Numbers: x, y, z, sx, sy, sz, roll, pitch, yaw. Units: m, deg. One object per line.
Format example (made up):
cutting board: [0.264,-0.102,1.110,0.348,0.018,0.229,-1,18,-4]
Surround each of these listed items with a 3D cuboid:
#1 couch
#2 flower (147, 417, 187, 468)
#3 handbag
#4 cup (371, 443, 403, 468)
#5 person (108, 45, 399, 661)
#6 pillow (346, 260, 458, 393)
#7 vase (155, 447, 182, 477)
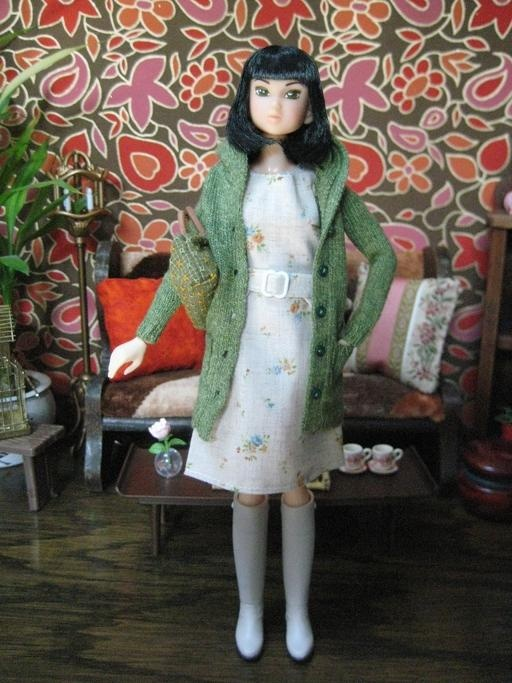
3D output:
couch: [0.068,0.096,2.482,1.415,0.777,0.669,1,17,-6]
flower: [-0.275,0.345,1.981,0.120,0.158,0.081,-1,-10,-12]
handbag: [-0.146,-0.156,1.387,0.104,0.280,0.189,-3,14,-13]
cup: [0.415,0.372,2.003,0.109,0.063,0.061,-1,9,-6]
person: [0.002,0.077,1.434,0.594,1.421,0.273,2,15,9]
pillow: [0.586,-0.046,2.393,0.526,0.455,0.157,12,4,31]
vase: [-0.273,0.384,1.945,0.100,0.103,0.087,2,46,-1]
